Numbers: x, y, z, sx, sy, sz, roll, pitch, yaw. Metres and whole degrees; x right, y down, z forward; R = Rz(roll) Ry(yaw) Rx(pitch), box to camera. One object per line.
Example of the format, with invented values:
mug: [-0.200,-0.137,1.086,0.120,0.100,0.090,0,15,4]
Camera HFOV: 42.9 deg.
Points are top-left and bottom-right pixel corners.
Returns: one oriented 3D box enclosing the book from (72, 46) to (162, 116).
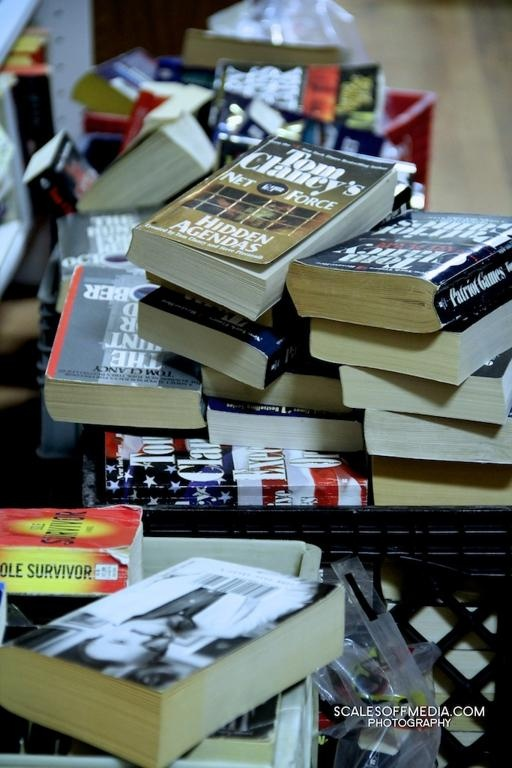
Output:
book: [-0.292,-0.627,1.369,0.178,0.042,0.186,-13,-3,42]

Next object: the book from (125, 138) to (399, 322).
book: [0.016,-0.163,0.630,0.195,0.072,0.289,24,48,27]

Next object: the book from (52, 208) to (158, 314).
book: [-0.241,-0.163,0.979,0.190,0.042,0.174,0,36,1]

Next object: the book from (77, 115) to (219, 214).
book: [-0.148,-0.314,1.047,0.187,0.044,0.184,-41,22,-27]
